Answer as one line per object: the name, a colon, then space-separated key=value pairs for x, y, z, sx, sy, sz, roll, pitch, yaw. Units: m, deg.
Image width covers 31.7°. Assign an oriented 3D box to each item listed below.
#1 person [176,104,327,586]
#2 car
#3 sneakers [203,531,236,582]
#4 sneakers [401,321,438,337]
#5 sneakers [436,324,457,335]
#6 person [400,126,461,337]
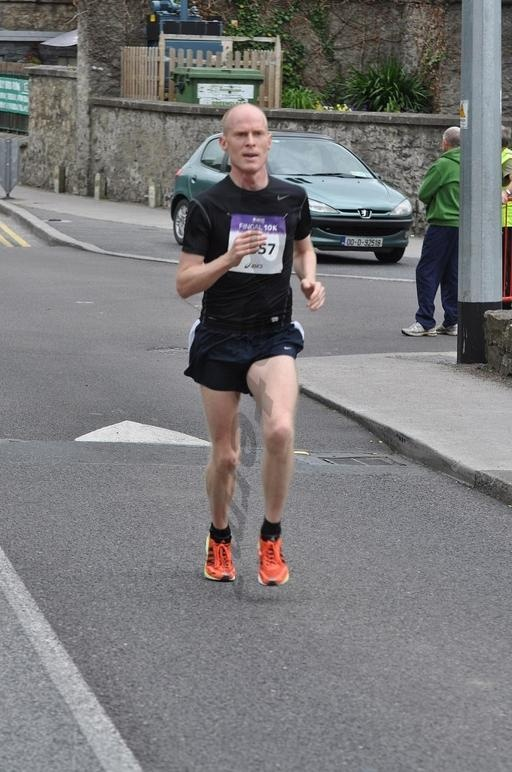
person: x=-0.035 y=-0.136 z=3.475 sx=0.510 sy=1.863 sz=0.694 roll=4 pitch=4 yaw=25
car: x=0.245 y=-3.513 z=16.909 sx=2.937 sy=2.255 sz=5.015 roll=-4 pitch=11 yaw=-31
sneakers: x=-0.140 y=0.698 z=3.547 sx=0.088 sy=0.092 sz=0.226 roll=0 pitch=3 yaw=-12
sneakers: x=1.863 y=-0.641 z=10.291 sx=0.402 sy=0.179 sz=0.158 roll=6 pitch=-1 yaw=-10
sneakers: x=2.246 y=-0.657 z=10.506 sx=0.255 sy=0.110 sz=0.111 roll=8 pitch=9 yaw=40
person: x=1.999 y=-1.709 z=10.020 sx=0.548 sy=2.348 sz=0.944 roll=3 pitch=4 yaw=11
